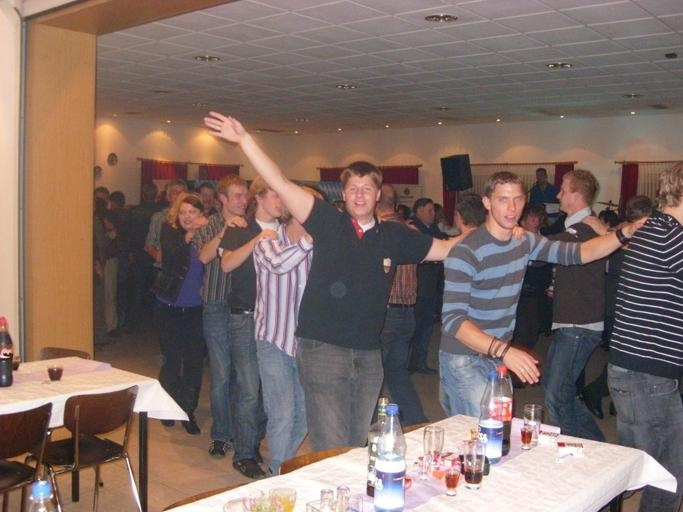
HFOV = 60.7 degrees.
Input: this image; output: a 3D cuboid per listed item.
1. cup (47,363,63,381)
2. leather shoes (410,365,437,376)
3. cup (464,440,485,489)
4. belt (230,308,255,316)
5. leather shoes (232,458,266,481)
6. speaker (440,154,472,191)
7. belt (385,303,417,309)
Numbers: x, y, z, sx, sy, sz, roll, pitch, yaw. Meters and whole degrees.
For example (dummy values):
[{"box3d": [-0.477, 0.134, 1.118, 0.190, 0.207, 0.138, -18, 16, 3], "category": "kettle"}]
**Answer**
[{"box3d": [-1.855, 0.750, 3.785, 0.098, 0.083, 0.091, 3, 2, 0], "category": "cup"}, {"box3d": [1.010, 1.430, 7.269, 0.390, 0.147, 0.122, -1, -3, -4], "category": "leather shoes"}, {"box3d": [0.546, 0.836, 2.411, 0.089, 0.189, 0.160, 0, 4, 12], "category": "cup"}, {"box3d": [-0.774, 0.421, 4.456, 0.181, 0.047, 0.018, 0, 4, 9], "category": "belt"}, {"box3d": [-0.712, 1.622, 4.489, 0.290, 0.105, 0.112, 1, 1, 41], "category": "leather shoes"}, {"box3d": [2.190, -1.587, 11.144, 0.406, 0.669, 0.636, -2, 4, -15], "category": "speaker"}, {"box3d": [0.502, 0.432, 5.084, 0.271, 0.059, 0.243, -1, 2, 4], "category": "belt"}]
